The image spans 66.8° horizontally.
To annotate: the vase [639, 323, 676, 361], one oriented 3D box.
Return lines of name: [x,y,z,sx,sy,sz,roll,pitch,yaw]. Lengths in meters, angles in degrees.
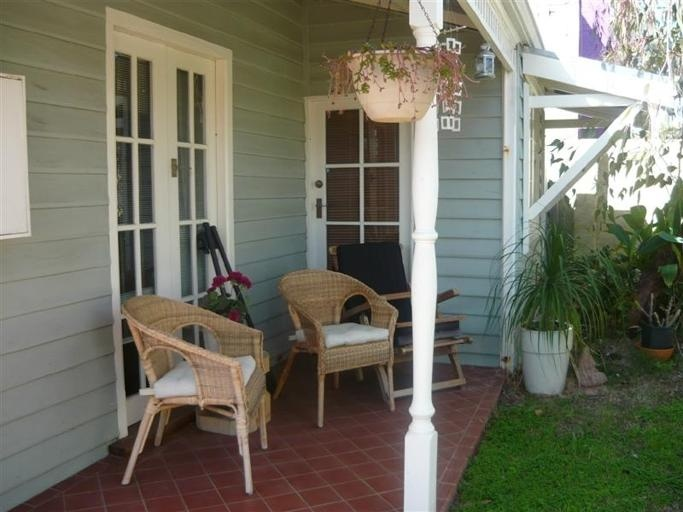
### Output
vase: [3.111,0.822,5.104,0.321,0.367,0.325,4,-8,-13]

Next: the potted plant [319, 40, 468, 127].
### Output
potted plant: [0.253,-0.825,2.466,0.654,0.352,0.292,-3,6,-2]

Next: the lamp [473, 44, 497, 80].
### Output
lamp: [1.226,-1.662,4.427,0.146,0.319,0.306,-1,6,20]

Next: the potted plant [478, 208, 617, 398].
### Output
potted plant: [1.745,0.433,4.965,1.515,1.593,1.093,4,8,39]
